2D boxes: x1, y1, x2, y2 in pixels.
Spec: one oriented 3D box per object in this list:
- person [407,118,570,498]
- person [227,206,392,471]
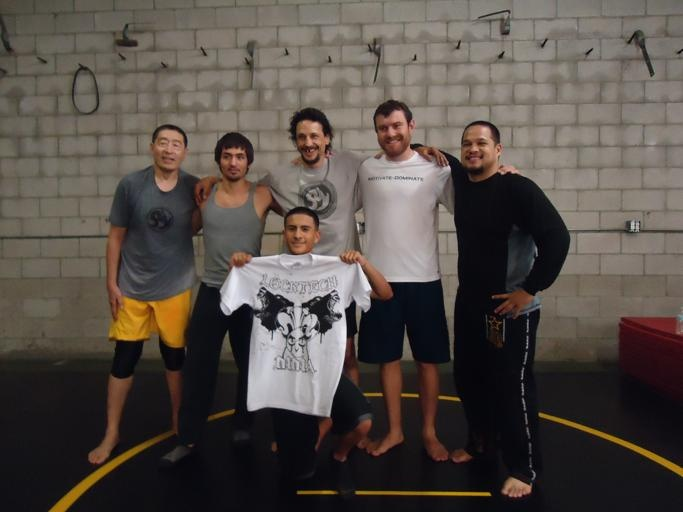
[{"bbox_3d":[1.132,0.500,5.241,0.882,2.304,0.478,8,12,41],"label":"person"},{"bbox_3d":[-0.174,0.577,5.312,1.090,1.868,0.495,1,9,6],"label":"person"}]
